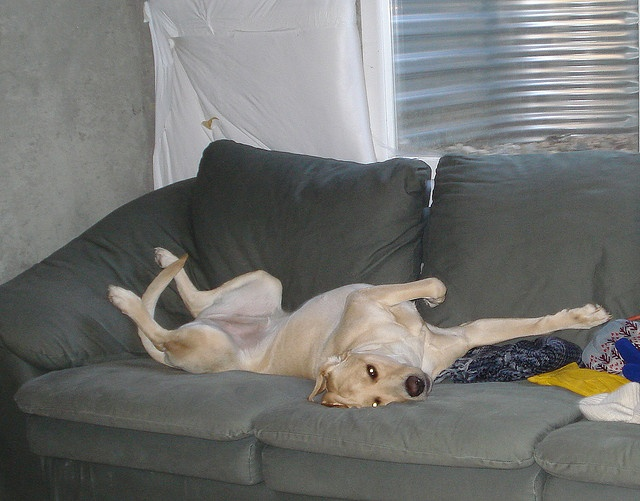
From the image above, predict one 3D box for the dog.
[{"bbox_3d":[0.054,0.303,2.740,1.639,0.441,0.590,7,33,16],"label":"dog"}]
